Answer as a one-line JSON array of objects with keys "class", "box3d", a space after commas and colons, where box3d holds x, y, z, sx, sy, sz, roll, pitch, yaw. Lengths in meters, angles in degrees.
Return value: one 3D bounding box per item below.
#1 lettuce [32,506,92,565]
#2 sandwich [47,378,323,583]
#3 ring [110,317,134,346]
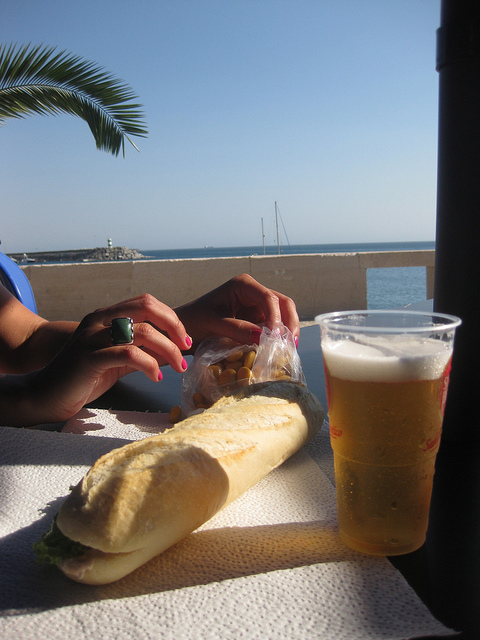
[{"class": "lettuce", "box3d": [-0.209, 0.226, 0.599, 0.061, 0.022, 0.070, 2, 13, -14]}, {"class": "sandwich", "box3d": [-0.042, 0.161, 0.741, 0.120, 0.098, 0.436, 24, 25, 26]}, {"class": "ring", "box3d": [-0.253, 0.026, 1.150, 0.056, 0.053, 0.020, 3, 0, 22]}]
